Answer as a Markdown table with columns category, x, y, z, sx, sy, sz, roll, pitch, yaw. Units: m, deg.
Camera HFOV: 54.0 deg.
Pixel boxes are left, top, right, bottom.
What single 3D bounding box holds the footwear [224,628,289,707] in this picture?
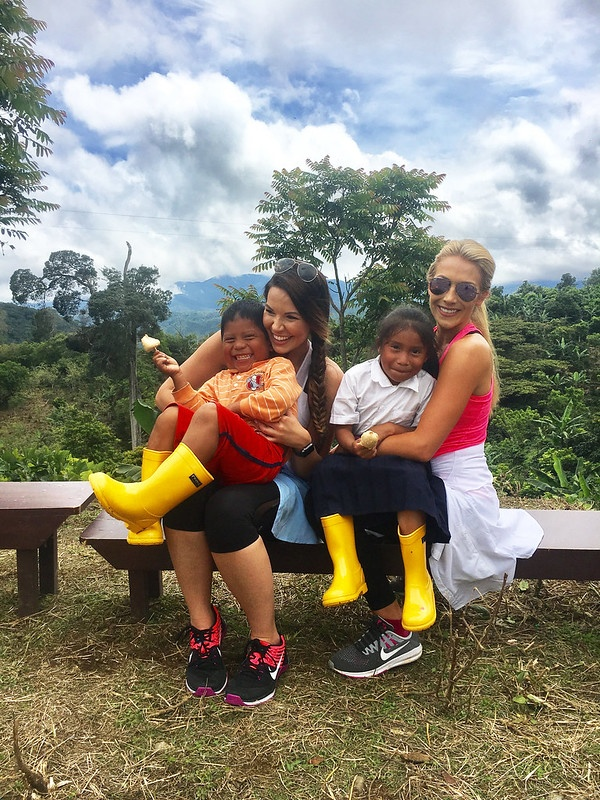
| category | x | y | z | sx | sy | sz | roll | pitch | yaw |
| --- | --- | --- | --- | --- | --- | --- | --- | --- | --- |
| footwear | -0.135 | 0.911 | 2.002 | 0.120 | 0.110 | 0.273 | -1 | -8 | 16 |

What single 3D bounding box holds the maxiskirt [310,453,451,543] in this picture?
| category | x | y | z | sx | sy | sz | roll | pitch | yaw |
| --- | --- | --- | --- | --- | --- | --- | --- | --- | --- |
| maxiskirt | 0.311 | 0.330 | 2.221 | 0.579 | 0.196 | 0.539 | 4 | 1 | 44 |

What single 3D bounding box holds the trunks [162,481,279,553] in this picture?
| category | x | y | z | sx | sy | sz | roll | pitch | yaw |
| --- | --- | --- | --- | --- | --- | --- | --- | --- | --- |
| trunks | -0.239 | 0.403 | 2.014 | 0.222 | 0.099 | 0.357 | -7 | -8 | 24 |

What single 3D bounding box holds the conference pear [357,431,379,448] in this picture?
| category | x | y | z | sx | sy | sz | roll | pitch | yaw |
| --- | --- | --- | --- | --- | --- | --- | --- | --- | --- |
| conference pear | 0.236 | 0.146 | 2.142 | 0.058 | 0.037 | 0.065 | 3 | 30 | 11 |

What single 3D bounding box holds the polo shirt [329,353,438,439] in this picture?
| category | x | y | z | sx | sy | sz | roll | pitch | yaw |
| --- | --- | --- | --- | --- | --- | --- | --- | --- | --- |
| polo shirt | 0.328 | -0.013 | 2.365 | 0.447 | 0.322 | 0.212 | 3 | 30 | -18 |

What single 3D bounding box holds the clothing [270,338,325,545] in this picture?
| category | x | y | z | sx | sy | sz | roll | pitch | yaw |
| --- | --- | --- | --- | --- | --- | --- | --- | --- | --- |
| clothing | -0.016 | 0.233 | 2.279 | 0.208 | 0.568 | 0.209 | 0 | -6 | 4 |

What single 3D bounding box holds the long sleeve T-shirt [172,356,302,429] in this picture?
| category | x | y | z | sx | sy | sz | roll | pitch | yaw |
| --- | --- | --- | --- | --- | --- | --- | --- | --- | --- |
| long sleeve T-shirt | -0.212 | -0.017 | 2.240 | 0.306 | 0.169 | 0.384 | -3 | -7 | 44 |

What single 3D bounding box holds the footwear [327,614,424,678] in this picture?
| category | x | y | z | sx | sy | sz | roll | pitch | yaw |
| --- | --- | --- | --- | --- | --- | --- | --- | --- | --- |
| footwear | 0.273 | 0.901 | 2.153 | 0.386 | 0.158 | 0.148 | -1 | 4 | -27 |

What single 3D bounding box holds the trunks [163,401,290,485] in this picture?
| category | x | y | z | sx | sy | sz | roll | pitch | yaw |
| --- | --- | --- | --- | --- | --- | --- | --- | --- | --- |
| trunks | -0.237 | 0.156 | 2.028 | 0.407 | 0.124 | 0.222 | 16 | -35 | -43 |

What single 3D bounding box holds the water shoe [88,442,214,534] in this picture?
| category | x | y | z | sx | sy | sz | roll | pitch | yaw |
| --- | --- | --- | --- | --- | --- | --- | --- | --- | --- |
| water shoe | -0.502 | 0.309 | 1.987 | 0.394 | 0.328 | 0.108 | 2 | 4 | 20 |

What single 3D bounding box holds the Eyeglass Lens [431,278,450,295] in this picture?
| category | x | y | z | sx | sy | sz | roll | pitch | yaw |
| --- | --- | --- | --- | --- | --- | --- | --- | --- | --- |
| Eyeglass Lens | 0.549 | -0.450 | 2.333 | 0.071 | 0.032 | 0.073 | 29 | 0 | 29 |
